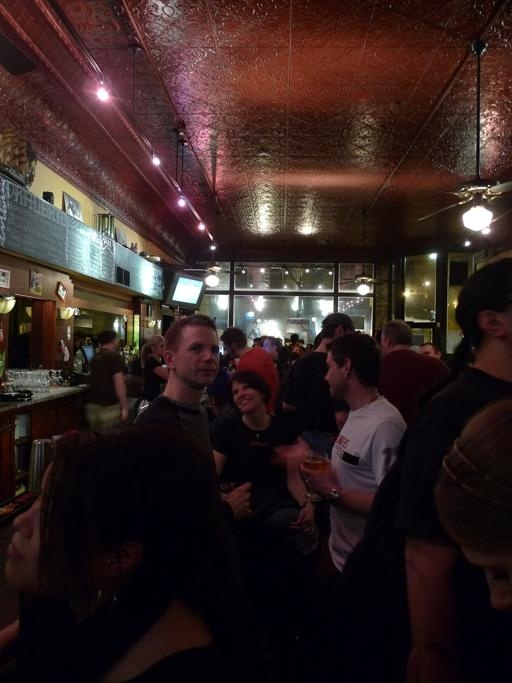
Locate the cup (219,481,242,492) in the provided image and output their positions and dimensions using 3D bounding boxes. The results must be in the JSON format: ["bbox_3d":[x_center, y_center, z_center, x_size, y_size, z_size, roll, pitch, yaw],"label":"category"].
[{"bbox_3d":[-0.074,0.443,1.570,0.045,0.027,0.044,1,0,0],"label":"cup"}]
